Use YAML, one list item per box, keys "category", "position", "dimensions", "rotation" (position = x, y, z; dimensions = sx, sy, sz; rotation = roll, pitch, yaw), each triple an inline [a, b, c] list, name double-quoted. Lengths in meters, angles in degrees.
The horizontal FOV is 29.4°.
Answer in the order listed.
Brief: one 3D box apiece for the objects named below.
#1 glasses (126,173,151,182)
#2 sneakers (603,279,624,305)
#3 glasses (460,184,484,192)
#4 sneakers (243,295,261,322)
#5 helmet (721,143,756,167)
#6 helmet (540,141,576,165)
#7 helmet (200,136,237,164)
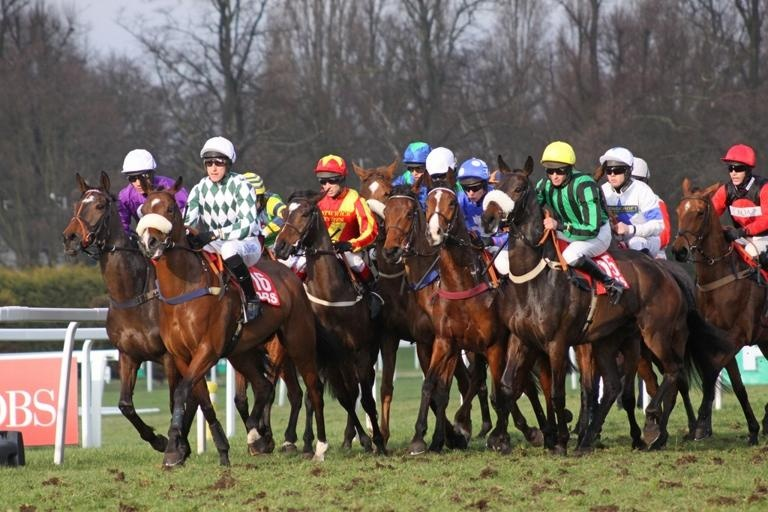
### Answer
- category: "glasses"
  position: [-3.213, -1.038, 18.936]
  dimensions: [0.371, 0.098, 0.206]
  rotation: [-7, -5, 28]
- category: "sneakers"
  position: [2.880, 0.389, 18.078]
  dimensions: [0.283, 0.425, 0.138]
  rotation: [-7, 10, 13]
- category: "glasses"
  position: [1.168, -0.895, 18.784]
  dimensions: [0.261, 0.083, 0.151]
  rotation: [-5, -4, 9]
- category: "sneakers"
  position: [-1.625, 0.618, 17.983]
  dimensions: [0.216, 0.295, 0.101]
  rotation: [-1, -5, -36]
- category: "helmet"
  position: [4.734, -1.348, 19.307]
  dimensions: [0.485, 0.280, 0.378]
  rotation: [4, 5, 1]
- category: "helmet"
  position: [2.216, -1.307, 18.296]
  dimensions: [0.303, 0.305, 0.364]
  rotation: [1, 17, 21]
- category: "helmet"
  position: [-2.071, -1.376, 18.623]
  dimensions: [0.342, 0.282, 0.479]
  rotation: [2, -6, 13]
